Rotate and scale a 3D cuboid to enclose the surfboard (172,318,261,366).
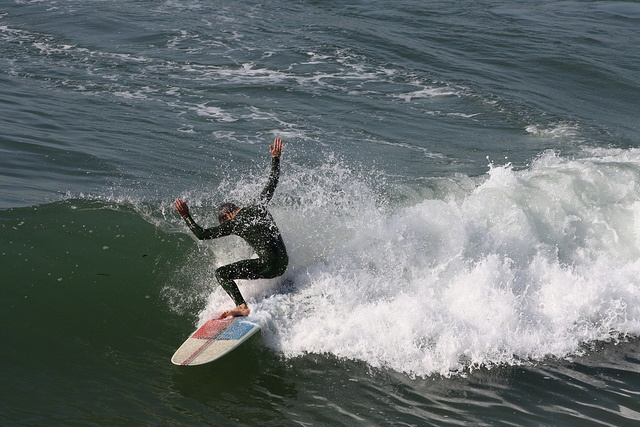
[{"bbox_3d":[-2.402,2.920,22.650,0.798,0.254,2.544,32,34,30],"label":"surfboard"}]
